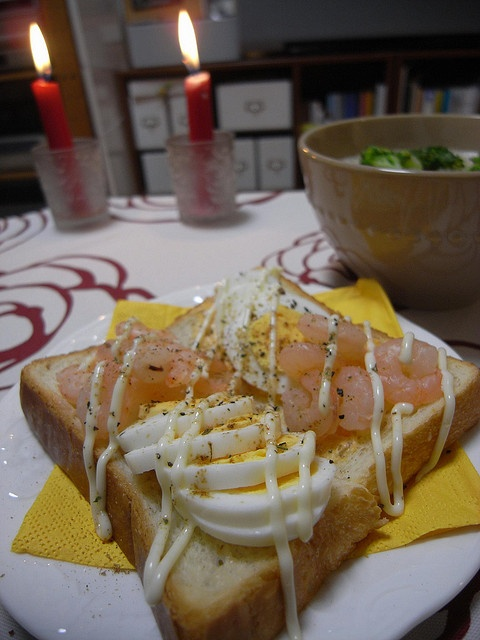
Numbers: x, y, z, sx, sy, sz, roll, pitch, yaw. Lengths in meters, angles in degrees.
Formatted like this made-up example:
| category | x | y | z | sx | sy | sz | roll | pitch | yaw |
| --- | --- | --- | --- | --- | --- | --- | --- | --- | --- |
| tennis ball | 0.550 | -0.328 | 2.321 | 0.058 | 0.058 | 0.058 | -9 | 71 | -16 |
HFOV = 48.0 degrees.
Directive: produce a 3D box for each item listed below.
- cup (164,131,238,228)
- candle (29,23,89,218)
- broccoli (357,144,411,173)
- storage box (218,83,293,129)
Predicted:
| category | x | y | z | sx | sy | sz | roll | pitch | yaw |
| --- | --- | --- | --- | --- | --- | --- | --- | --- | --- |
| cup | -0.066 | -0.227 | 0.855 | 0.113 | 0.172 | 0.131 | -9 | 32 | -8 |
| candle | -0.269 | -0.286 | 0.793 | 0.039 | 0.273 | 0.125 | -13 | 29 | -14 |
| broccoli | 0.223 | -0.261 | 0.858 | 0.065 | 0.022 | 0.094 | -19 | 32 | -28 |
| storage box | 0.082 | -1.116 | 2.960 | 0.450 | 0.267 | 0.242 | 0 | 26 | 2 |
